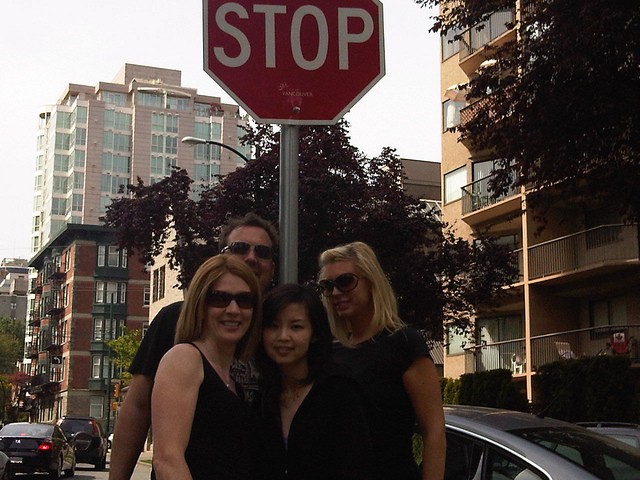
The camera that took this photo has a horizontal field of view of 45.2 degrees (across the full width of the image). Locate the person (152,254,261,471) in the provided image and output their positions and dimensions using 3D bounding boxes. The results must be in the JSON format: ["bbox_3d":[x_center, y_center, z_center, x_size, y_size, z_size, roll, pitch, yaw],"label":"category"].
[{"bbox_3d":[-0.540,0.565,3.729,0.325,1.067,0.606,-12,-16,42],"label":"person"}]

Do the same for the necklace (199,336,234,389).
[{"bbox_3d":[-0.508,0.585,3.701,0.050,0.287,0.054,-36,-18,-19],"label":"necklace"}]

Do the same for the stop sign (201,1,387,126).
[{"bbox_3d":[-0.169,-1.065,4.473,1.322,1.003,0.138,0,3,-4],"label":"stop sign"}]

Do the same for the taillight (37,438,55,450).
[{"bbox_3d":[-7.219,5.423,20.488,0.235,0.296,0.491,-7,-14,24],"label":"taillight"}]

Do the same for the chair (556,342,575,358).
[{"bbox_3d":[8.456,3.827,26.832,0.465,0.595,0.448,-4,-8,32],"label":"chair"}]

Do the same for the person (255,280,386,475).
[{"bbox_3d":[-0.023,0.705,3.995,0.632,0.988,0.313,0,-12,-5],"label":"person"}]
